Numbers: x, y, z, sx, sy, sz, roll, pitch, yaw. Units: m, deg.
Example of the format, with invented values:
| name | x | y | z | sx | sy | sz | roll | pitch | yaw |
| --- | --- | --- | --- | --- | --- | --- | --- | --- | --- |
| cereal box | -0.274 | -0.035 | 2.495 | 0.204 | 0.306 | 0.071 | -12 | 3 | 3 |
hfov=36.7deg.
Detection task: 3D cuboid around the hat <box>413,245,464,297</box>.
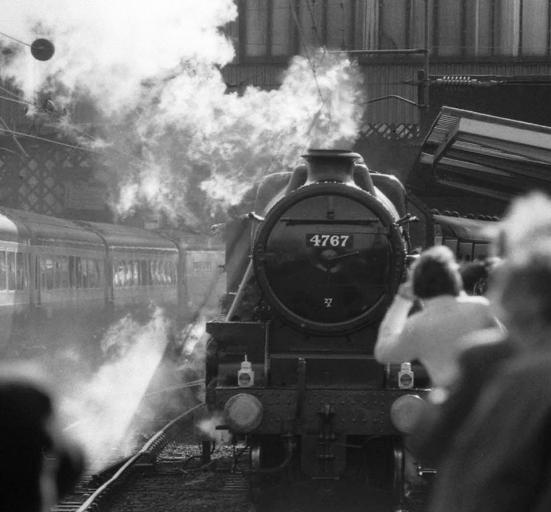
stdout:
| name | x | y | z | sx | sy | sz | roll | pitch | yaw |
| --- | --- | --- | --- | --- | --- | --- | --- | --- | --- |
| hat | 0.733 | 0.076 | 3.799 | 0.160 | 0.264 | 0.237 | 0 | 11 | 6 |
